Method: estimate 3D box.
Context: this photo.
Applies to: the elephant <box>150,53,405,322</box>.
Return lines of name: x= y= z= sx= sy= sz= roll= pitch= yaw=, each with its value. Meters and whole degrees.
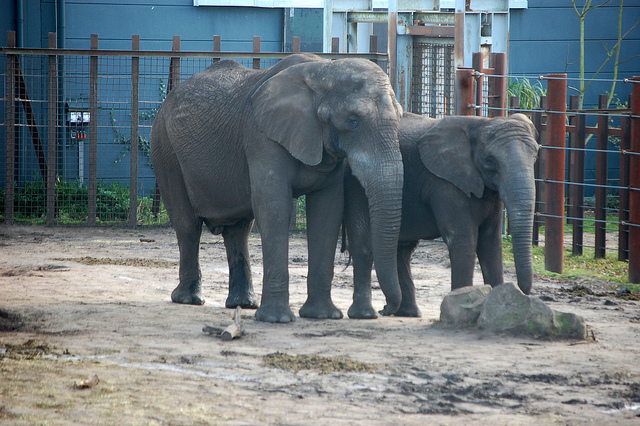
elephant: x=-0.610 y=-0.299 z=12.671 sx=3.930 sy=3.380 sz=1.628 roll=1 pitch=2 yaw=41

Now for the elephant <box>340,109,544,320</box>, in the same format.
elephant: x=1.501 y=0.097 z=12.656 sx=1.289 sy=2.498 sz=3.055 roll=3 pitch=-6 yaw=-43
